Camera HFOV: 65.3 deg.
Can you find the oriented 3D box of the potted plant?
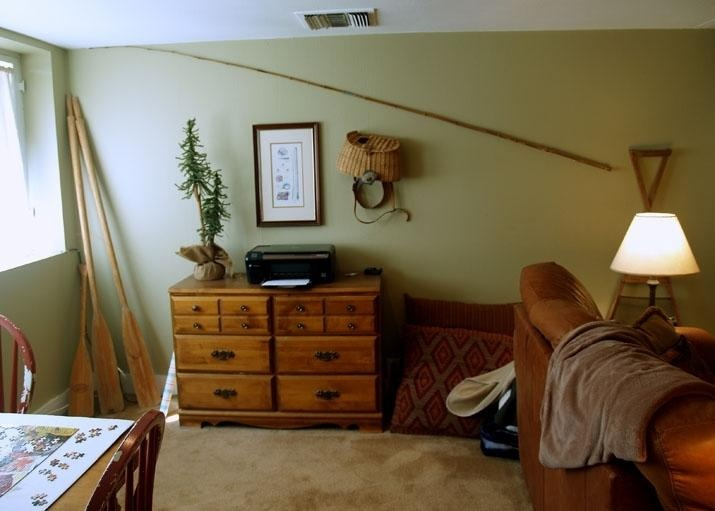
[{"bbox_3d":[-1.201,-0.446,4.294,0.415,1.186,0.527,-6,16,-13],"label":"potted plant"}]

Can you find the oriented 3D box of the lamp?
[{"bbox_3d":[2.119,0.128,4.012,0.520,0.911,0.528,0,13,23],"label":"lamp"}]

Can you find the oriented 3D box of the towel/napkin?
[{"bbox_3d":[1.114,0.698,2.465,0.421,0.630,0.653,-7,16,-17],"label":"towel/napkin"}]
